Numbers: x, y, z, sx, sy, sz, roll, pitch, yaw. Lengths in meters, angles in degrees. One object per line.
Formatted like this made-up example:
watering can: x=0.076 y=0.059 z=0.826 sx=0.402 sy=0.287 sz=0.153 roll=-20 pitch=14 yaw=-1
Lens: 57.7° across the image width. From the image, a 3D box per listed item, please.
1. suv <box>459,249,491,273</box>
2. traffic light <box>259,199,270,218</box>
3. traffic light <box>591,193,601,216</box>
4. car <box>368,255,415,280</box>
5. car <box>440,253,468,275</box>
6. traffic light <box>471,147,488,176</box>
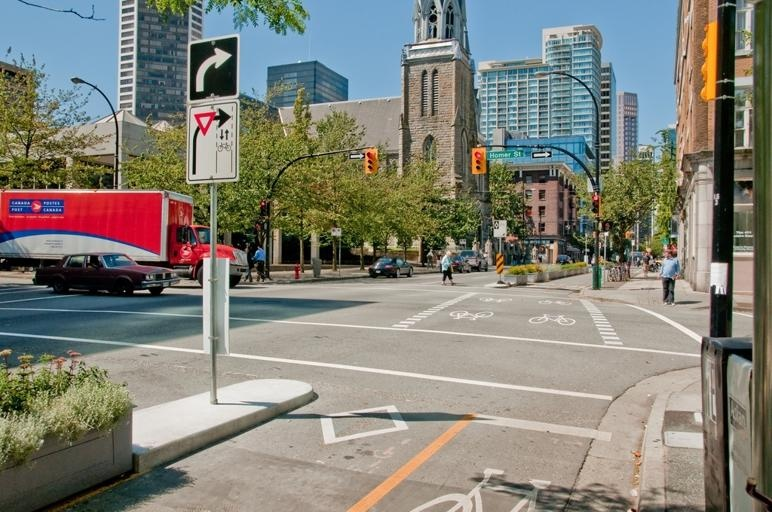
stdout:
suv: x=7.583 y=0.422 z=61.337 sx=1.410 sy=1.168 sz=3.248 roll=-3 pitch=-7 yaw=19
traffic light: x=-6.225 y=-2.399 z=35.965 sx=0.430 sy=0.868 sz=1.541 roll=-2 pitch=8 yaw=-13
traffic light: x=9.057 y=-2.191 z=30.018 sx=0.302 sy=1.020 sz=0.831 roll=2 pitch=8 yaw=15
car: x=0.292 y=0.857 z=44.017 sx=1.465 sy=1.372 sz=3.097 roll=4 pitch=9 yaw=29
car: x=5.708 y=0.815 z=55.706 sx=1.171 sy=0.969 sz=2.867 roll=1 pitch=6 yaw=24
traffic light: x=3.945 y=-4.030 z=29.307 sx=0.591 sy=1.053 sz=0.966 roll=2 pitch=8 yaw=10
